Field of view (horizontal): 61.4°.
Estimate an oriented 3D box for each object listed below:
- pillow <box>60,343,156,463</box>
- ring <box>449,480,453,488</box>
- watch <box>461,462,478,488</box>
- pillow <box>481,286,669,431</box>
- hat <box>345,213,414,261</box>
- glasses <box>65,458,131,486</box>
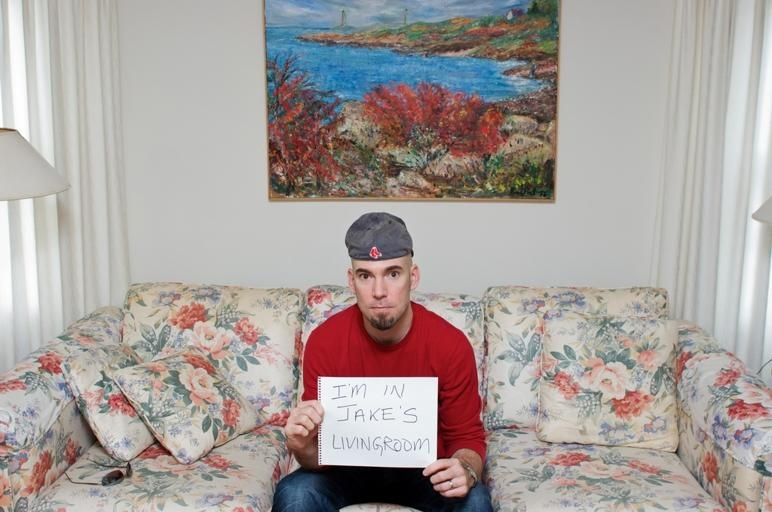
[{"bbox_3d":[-1.319,0.700,3.210,0.381,0.496,0.362,4,13,27],"label":"pillow"},{"bbox_3d":[0.266,0.941,2.688,0.021,0.022,0.021,-1,32,1],"label":"ring"},{"bbox_3d":[0.349,0.921,2.746,0.087,0.086,0.058,19,46,31],"label":"watch"},{"bbox_3d":[0.967,0.555,3.330,0.687,0.650,0.204,-1,-7,3],"label":"pillow"},{"bbox_3d":[-0.036,-0.086,2.852,0.281,0.194,0.170,-2,11,-5],"label":"hat"},{"bbox_3d":[-1.344,1.001,2.998,0.152,0.052,0.146,-2,7,-27],"label":"glasses"}]
